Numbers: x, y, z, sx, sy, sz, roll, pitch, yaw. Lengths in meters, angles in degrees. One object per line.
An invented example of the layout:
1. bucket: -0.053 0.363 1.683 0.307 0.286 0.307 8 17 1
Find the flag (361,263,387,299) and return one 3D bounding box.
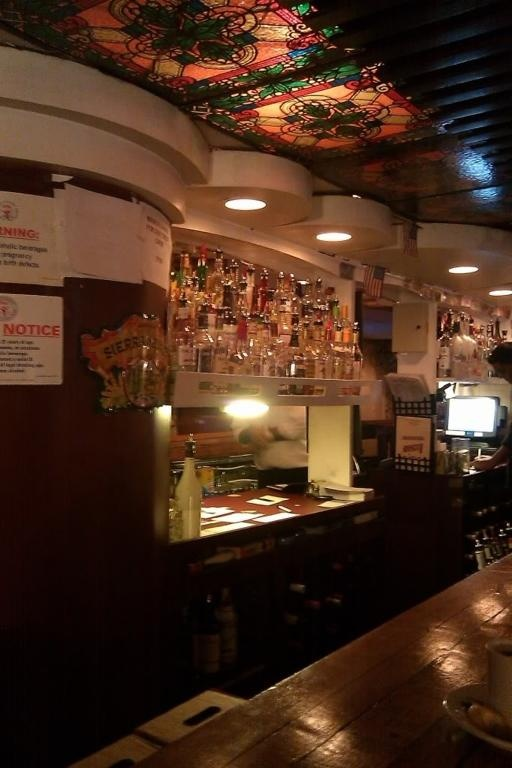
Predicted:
1. flag: 0.874 -0.782 4.368 0.228 0.274 0.042 3 2 -27

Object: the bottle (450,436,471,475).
1. bottle: 1.705 0.597 4.912 0.165 0.282 0.158 1 -6 0

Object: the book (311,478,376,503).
1. book: 0.499 0.647 3.555 0.370 0.094 0.289 -1 -3 22

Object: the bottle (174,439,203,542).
1. bottle: -0.299 0.452 2.580 0.110 0.402 0.264 1 -4 -6
